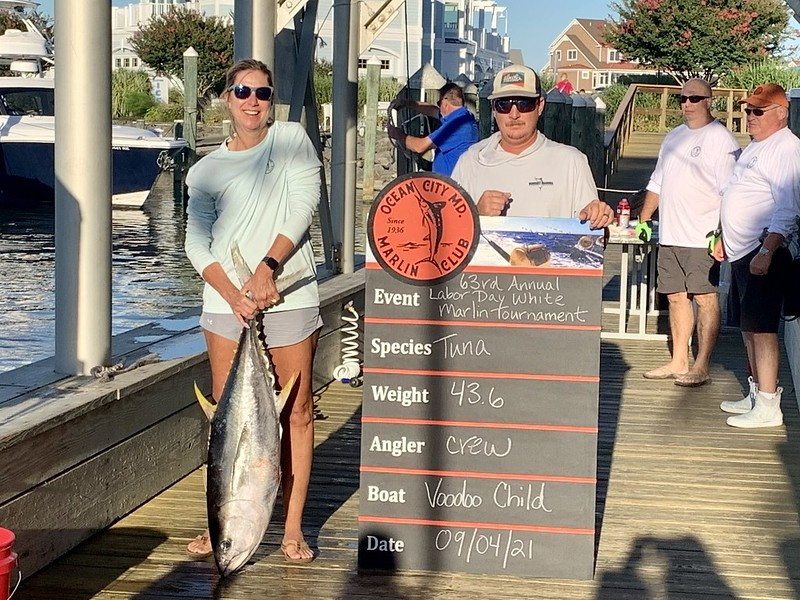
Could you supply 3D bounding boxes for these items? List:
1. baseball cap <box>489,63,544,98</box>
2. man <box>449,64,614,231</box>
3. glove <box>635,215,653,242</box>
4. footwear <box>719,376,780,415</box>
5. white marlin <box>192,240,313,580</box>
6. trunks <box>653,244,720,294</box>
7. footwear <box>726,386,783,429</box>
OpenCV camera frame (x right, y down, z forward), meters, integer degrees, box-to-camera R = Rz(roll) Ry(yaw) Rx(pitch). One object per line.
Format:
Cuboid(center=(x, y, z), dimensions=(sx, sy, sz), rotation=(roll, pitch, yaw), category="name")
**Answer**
Cuboid(center=(0.554, -1.062, 5.511), dimensions=(0.258, 0.163, 0.303), rotation=(2, 11, 11), category="baseball cap")
Cuboid(center=(0.591, -0.712, 5.609), dimensions=(0.902, 0.844, 0.483), rotation=(1, 4, 24), category="man")
Cuboid(center=(1.992, -0.576, 9.204), dimensions=(0.047, 0.200, 0.202), rotation=(5, 5, 28), category="glove")
Cuboid(center=(2.410, 0.653, 7.833), dimensions=(0.381, 0.265, 0.134), rotation=(2, 10, -25), category="footwear")
Cuboid(center=(-0.690, 0.515, 5.175), dimensions=(0.528, 1.292, 0.323), rotation=(14, -8, 6), category="white marlin")
Cuboid(center=(2.143, -0.174, 8.522), dimensions=(0.549, 0.518, 0.334), rotation=(-1, -2, 43), category="trunks")
Cuboid(center=(2.364, 0.718, 7.519), dimensions=(0.368, 0.254, 0.154), rotation=(-3, 7, 10), category="footwear")
